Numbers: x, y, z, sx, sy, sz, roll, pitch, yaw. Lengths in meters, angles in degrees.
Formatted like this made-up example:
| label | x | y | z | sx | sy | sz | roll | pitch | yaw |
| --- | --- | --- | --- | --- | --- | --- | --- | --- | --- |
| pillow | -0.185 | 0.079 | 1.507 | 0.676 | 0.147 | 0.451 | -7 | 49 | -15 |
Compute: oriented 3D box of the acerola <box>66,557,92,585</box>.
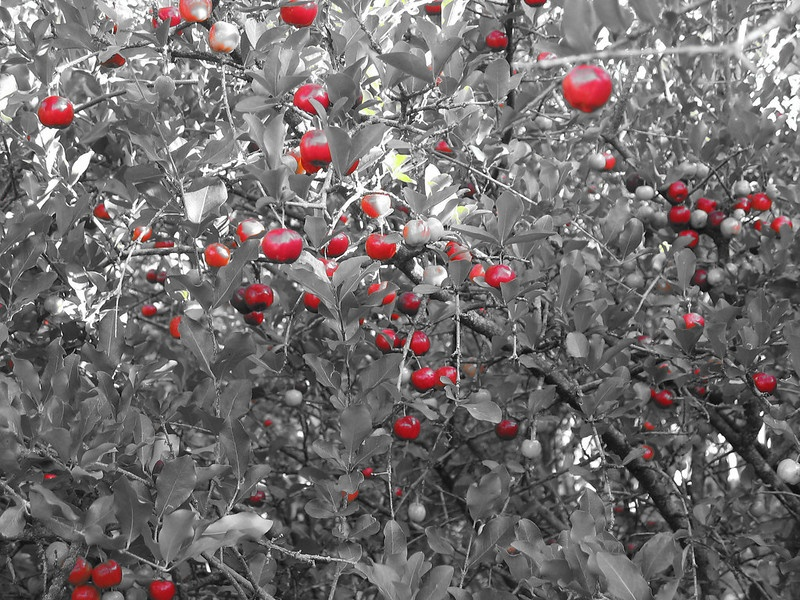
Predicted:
| label | x | y | z | sx | sy | sz | roll | pitch | yaw |
| --- | --- | --- | --- | --- | --- | --- | --- | --- | --- |
| acerola | -0.985 | 0.836 | 2.432 | 0.076 | 0.077 | 0.075 | 23 | 4 | -31 |
